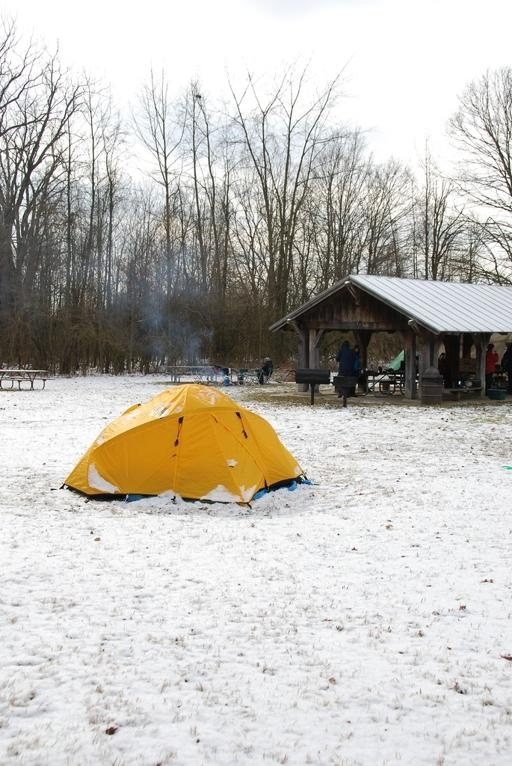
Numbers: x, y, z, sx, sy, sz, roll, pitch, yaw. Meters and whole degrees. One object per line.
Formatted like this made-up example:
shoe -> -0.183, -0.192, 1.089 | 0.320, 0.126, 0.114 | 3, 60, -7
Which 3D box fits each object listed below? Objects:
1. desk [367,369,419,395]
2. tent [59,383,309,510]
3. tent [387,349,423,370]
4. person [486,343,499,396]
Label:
desk -> 3.887, 0.010, 25.405 | 1.250, 0.811, 6.185 | 1, 5, 8
tent -> -0.900, 0.815, 9.779 | 1.423, 0.851, 1.615 | -4, 2, -37
tent -> 5.054, -0.676, 31.426 | 1.104, 0.660, 1.261 | -4, 1, -2
person -> 6.523, -0.425, 24.702 | 0.287, 1.192, 3.190 | 1, 5, 15
